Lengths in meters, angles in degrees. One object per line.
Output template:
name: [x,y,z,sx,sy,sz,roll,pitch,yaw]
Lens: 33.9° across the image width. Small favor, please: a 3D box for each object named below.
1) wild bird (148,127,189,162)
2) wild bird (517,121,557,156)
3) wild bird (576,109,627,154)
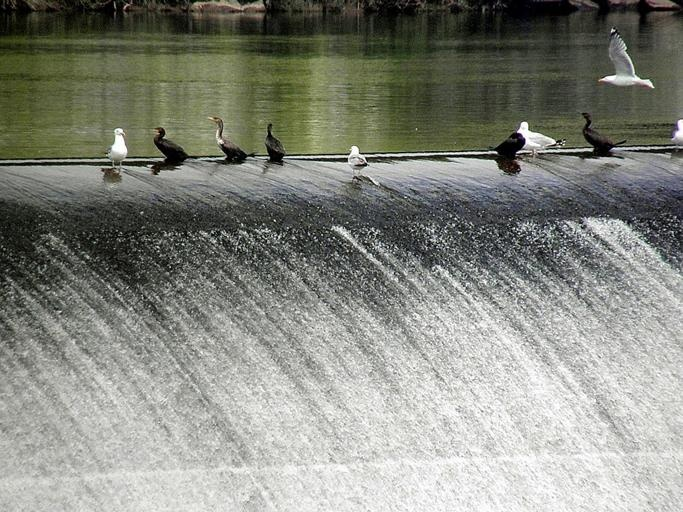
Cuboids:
wild bird: [-3.115,-2.022,20.406,0.568,0.617,0.480,-1,17,-7]
wild bird: [3.790,-2.252,21.390,1.027,0.540,0.468,1,12,-9]
wild bird: [5.088,-2.331,21.703,1.062,0.690,0.384,23,39,35]
